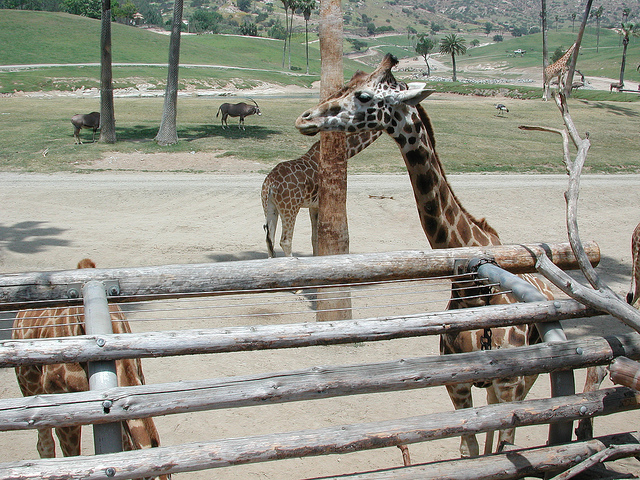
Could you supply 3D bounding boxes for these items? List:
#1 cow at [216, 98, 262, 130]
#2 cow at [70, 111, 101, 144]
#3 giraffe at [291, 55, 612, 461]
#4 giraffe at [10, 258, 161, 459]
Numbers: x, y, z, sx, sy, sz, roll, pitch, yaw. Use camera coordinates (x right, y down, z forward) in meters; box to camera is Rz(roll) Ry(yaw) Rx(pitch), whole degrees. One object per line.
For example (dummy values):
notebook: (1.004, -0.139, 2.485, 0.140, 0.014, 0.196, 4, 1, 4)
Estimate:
cow: (-3.555, -5.693, 32.433, 2.479, 1.065, 0.544, 6, 9, 28)
cow: (-8.807, -4.353, 27.637, 0.626, 1.088, 2.111, 10, 14, 19)
giraffe: (1.684, 0.330, 7.268, 2.519, 4.350, 2.543, -11, 20, -31)
giraffe: (-2.068, 1.333, 6.338, 1.085, 1.975, 2.298, -7, 16, -21)
